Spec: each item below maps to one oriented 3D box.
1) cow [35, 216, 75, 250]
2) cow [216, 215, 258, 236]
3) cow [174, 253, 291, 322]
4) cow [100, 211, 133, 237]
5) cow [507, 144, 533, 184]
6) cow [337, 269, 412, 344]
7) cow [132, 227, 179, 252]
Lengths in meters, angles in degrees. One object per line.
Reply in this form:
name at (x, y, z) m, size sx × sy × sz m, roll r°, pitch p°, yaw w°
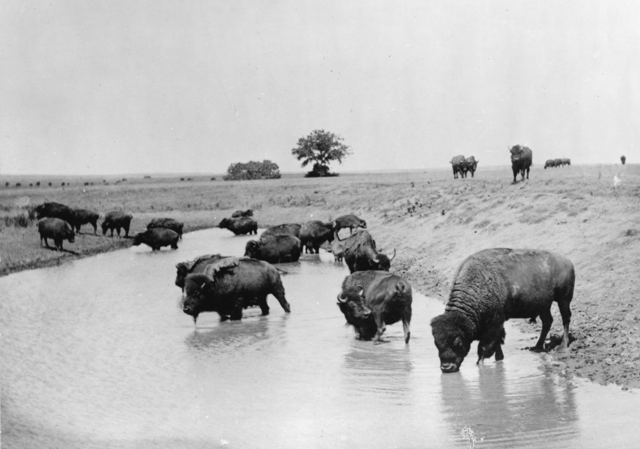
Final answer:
cow at (-9.807, 0.350, 25.521) m, size 1.280 × 1.146 × 0.601 m, roll 9°, pitch 17°, yaw -2°
cow at (-3.802, 0.080, 32.203) m, size 1.558 × 0.978 × 0.827 m, roll 2°, pitch 1°, yaw -10°
cow at (-1.919, 1.435, 15.465) m, size 2.550 × 1.737 × 1.059 m, roll 1°, pitch -6°, yaw -26°
cow at (-9.084, -0.010, 30.928) m, size 1.575 × 1.499 × 1.003 m, roll 2°, pitch 2°, yaw 6°
cow at (8.833, -2.668, 30.296) m, size 0.796 × 1.714 × 3.231 m, roll 2°, pitch 13°, yaw 22°
cow at (1.074, 1.662, 13.850) m, size 0.811 × 1.519 × 2.198 m, roll 4°, pitch -5°, yaw -28°
cow at (-6.456, 0.644, 27.565) m, size 2.041 × 1.389 × 0.824 m, roll 2°, pitch 0°, yaw 14°
